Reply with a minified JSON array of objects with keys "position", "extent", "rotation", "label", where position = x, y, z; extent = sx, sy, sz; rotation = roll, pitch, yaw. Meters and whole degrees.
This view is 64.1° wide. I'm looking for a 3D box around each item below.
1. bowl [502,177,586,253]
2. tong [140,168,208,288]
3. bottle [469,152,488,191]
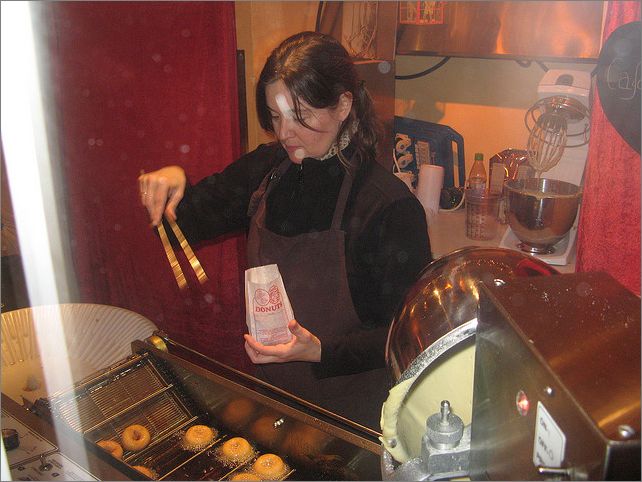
[{"position":[0.809,-0.099,1.921],"extent":[0.238,0.225,0.274],"rotation":[-1,22,2],"label":"bowl"},{"position":[-0.418,-0.038,1.438],"extent":[0.088,0.029,0.357],"rotation":[-31,68,8],"label":"tong"},{"position":[0.717,-0.317,2.337],"extent":[0.073,0.154,0.206],"rotation":[6,25,16],"label":"bottle"}]
